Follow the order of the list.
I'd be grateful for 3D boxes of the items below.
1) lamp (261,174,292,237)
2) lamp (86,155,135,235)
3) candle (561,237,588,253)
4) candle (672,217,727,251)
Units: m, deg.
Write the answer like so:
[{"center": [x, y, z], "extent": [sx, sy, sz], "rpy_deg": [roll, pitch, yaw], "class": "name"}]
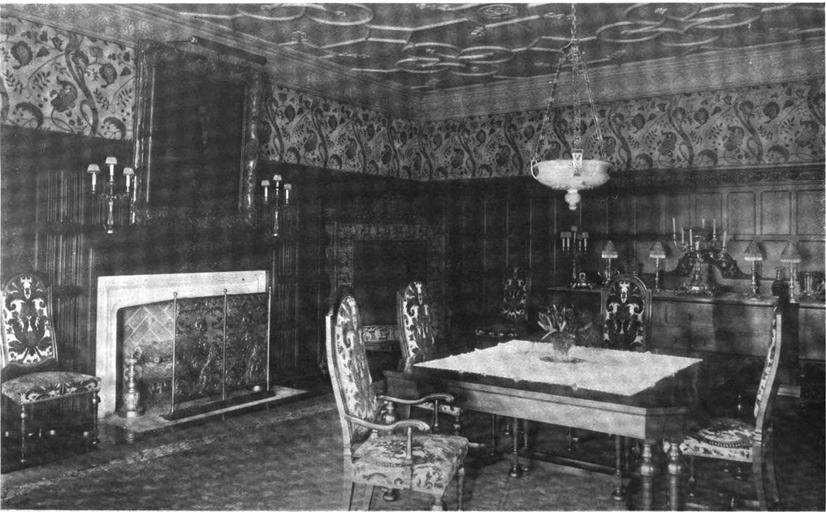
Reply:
[{"center": [-1.518, -0.577, 8.034], "extent": [0.361, 0.719, 0.390], "rpy_deg": [-2, 0, -11], "class": "lamp"}, {"center": [-2.861, -0.593, 6.842], "extent": [0.438, 0.789, 0.312], "rpy_deg": [-2, 0, -29], "class": "lamp"}, {"center": [1.996, -0.141, 8.885], "extent": [0.298, 0.180, 0.107], "rpy_deg": [-2, 0, 16], "class": "candle"}, {"center": [3.316, -0.253, 8.283], "extent": [0.383, 0.278, 0.441], "rpy_deg": [2, -4, -26], "class": "candle"}]
